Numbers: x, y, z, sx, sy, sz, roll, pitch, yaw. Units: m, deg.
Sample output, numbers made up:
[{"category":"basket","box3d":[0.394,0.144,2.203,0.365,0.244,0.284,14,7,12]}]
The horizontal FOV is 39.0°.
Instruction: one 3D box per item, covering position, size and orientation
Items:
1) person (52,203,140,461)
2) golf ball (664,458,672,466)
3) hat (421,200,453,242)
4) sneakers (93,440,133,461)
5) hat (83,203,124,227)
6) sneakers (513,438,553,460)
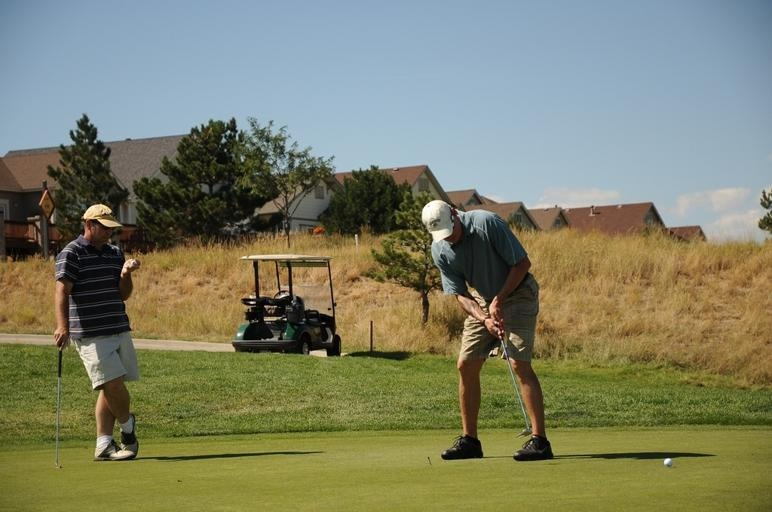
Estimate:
[{"category":"person","box3d":[-4.234,1.121,16.065,1.162,3.787,0.557,-1,-4,-17]},{"category":"golf ball","box3d":[3.842,2.838,14.856,0.080,0.090,0.084,11,3,-1]},{"category":"hat","box3d":[0.720,-0.543,15.741,0.437,0.355,0.714,-26,34,18]},{"category":"sneakers","box3d":[-3.967,2.861,15.890,0.520,0.274,0.266,1,-2,3]},{"category":"hat","box3d":[-4.227,-0.578,16.281,0.515,0.308,0.367,0,-1,11]},{"category":"sneakers","box3d":[2.082,2.736,15.262,0.613,0.313,0.242,2,-7,-25]}]
